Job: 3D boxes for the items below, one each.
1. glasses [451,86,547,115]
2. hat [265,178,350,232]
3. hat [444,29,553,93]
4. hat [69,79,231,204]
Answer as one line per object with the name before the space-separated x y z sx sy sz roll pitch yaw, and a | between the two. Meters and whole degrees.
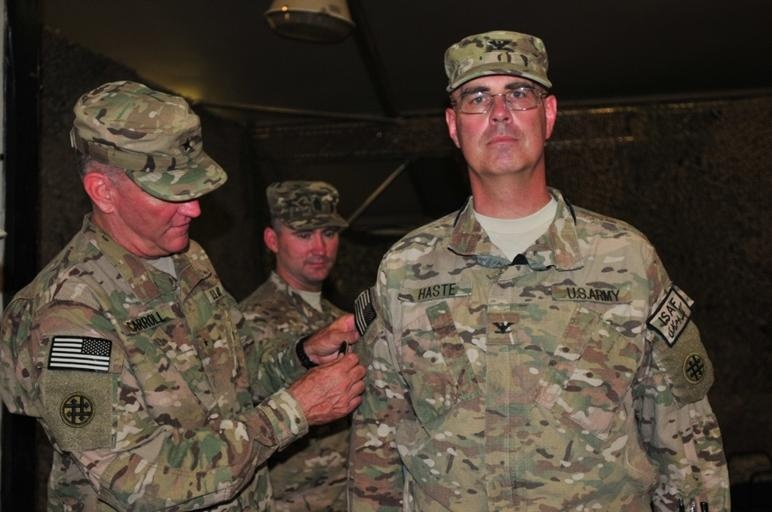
glasses | 0.471 -0.641 5.268 0.376 0.086 0.096 -6 33 4
hat | -0.439 -0.302 6.758 0.397 0.203 0.494 -10 22 -33
hat | 0.459 -0.869 5.433 0.491 0.169 0.542 -8 21 -20
hat | -1.063 -0.510 5.552 0.736 0.262 0.453 25 32 7
